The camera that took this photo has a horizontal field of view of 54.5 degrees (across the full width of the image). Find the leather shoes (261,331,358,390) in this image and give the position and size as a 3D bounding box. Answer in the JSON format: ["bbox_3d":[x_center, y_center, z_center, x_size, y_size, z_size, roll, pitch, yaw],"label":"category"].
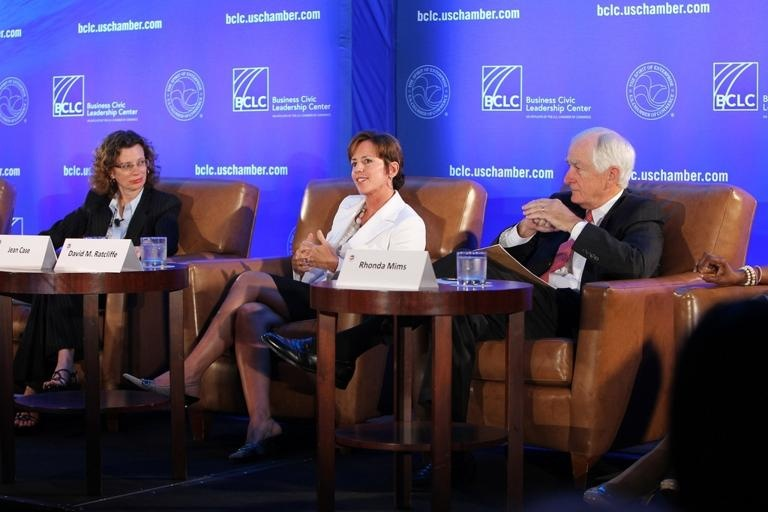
[{"bbox_3d":[-0.296,0.376,2.849,0.388,0.159,0.136,30,-24,-27],"label":"leather shoes"}]

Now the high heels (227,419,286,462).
[{"bbox_3d":[-0.513,0.766,3.131,0.100,0.114,0.282,-7,-3,34],"label":"high heels"}]

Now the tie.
[{"bbox_3d":[0.793,-0.036,3.200,0.047,0.349,0.049,12,-24,30],"label":"tie"}]

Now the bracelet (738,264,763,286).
[{"bbox_3d":[1.348,0.069,2.740,0.059,0.042,0.079,1,2,-12],"label":"bracelet"}]

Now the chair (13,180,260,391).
[{"bbox_3d":[-1.449,0.087,3.957,0.976,1.212,1.085,1,-3,26],"label":"chair"}]

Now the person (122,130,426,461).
[{"bbox_3d":[-0.482,0.113,3.317,1.194,1.411,0.611,4,7,-33],"label":"person"}]

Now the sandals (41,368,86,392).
[{"bbox_3d":[-1.468,0.561,3.410,0.086,0.089,0.242,-2,-11,6],"label":"sandals"}]

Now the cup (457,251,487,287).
[{"bbox_3d":[0.294,0.040,2.531,0.102,0.116,0.102,1,2,0],"label":"cup"}]

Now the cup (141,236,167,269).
[{"bbox_3d":[-0.895,-0.019,2.891,0.106,0.121,0.103,1,-2,0],"label":"cup"}]

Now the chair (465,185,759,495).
[{"bbox_3d":[0.866,0.244,3.436,1.285,1.387,0.964,1,-1,-45],"label":"chair"}]

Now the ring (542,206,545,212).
[{"bbox_3d":[0.673,-0.201,3.141,0.020,0.020,0.005,5,-7,20],"label":"ring"}]

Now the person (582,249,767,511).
[{"bbox_3d":[1.052,0.426,2.638,0.913,0.854,0.399,-2,4,-39],"label":"person"}]

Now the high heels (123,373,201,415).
[{"bbox_3d":[-0.914,0.532,3.088,0.329,0.093,0.109,6,32,6],"label":"high heels"}]

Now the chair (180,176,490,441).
[{"bbox_3d":[-0.256,0.182,3.785,1.056,1.461,1.363,1,2,33],"label":"chair"}]
